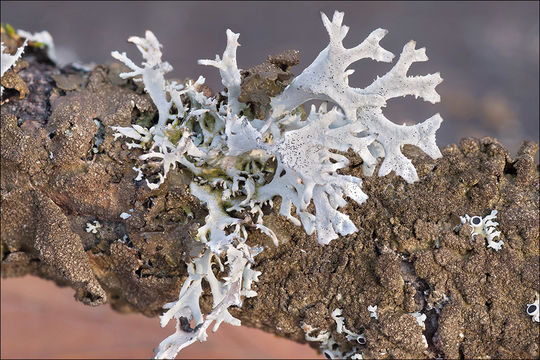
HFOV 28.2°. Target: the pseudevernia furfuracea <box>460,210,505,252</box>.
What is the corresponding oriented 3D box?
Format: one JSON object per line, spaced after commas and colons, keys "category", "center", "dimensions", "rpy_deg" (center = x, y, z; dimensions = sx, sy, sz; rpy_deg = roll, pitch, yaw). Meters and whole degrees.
{"category": "pseudevernia furfuracea", "center": [1.520, 0.342, 7.722], "dimensions": [0.348, 0.192, 0.022], "rpy_deg": [18, -7, 1]}
